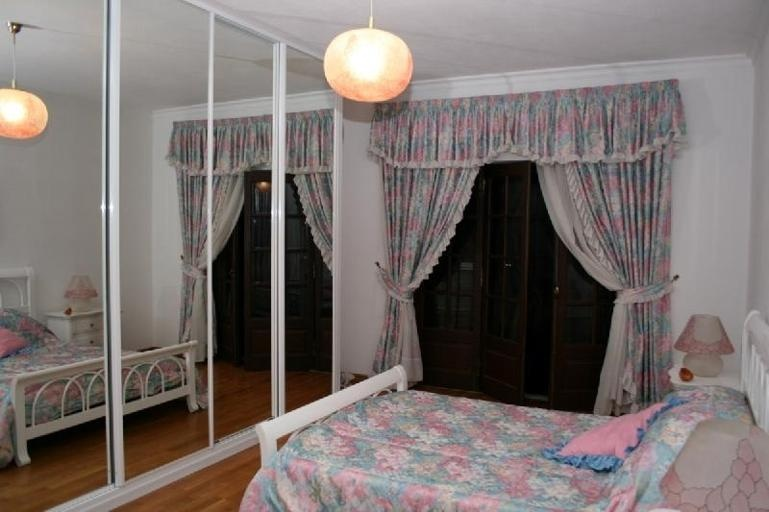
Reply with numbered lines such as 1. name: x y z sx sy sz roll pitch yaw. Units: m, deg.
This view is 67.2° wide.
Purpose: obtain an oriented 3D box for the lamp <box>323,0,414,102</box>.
1. lamp: -0.162 -1.371 4.113 0.597 0.785 0.584 1 5 -14

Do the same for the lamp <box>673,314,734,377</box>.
1. lamp: 2.662 0.752 5.036 0.520 0.540 0.522 -2 0 15

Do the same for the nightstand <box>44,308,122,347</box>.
1. nightstand: -2.110 0.497 4.103 0.230 0.445 0.453 3 4 25

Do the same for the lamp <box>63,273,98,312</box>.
1. lamp: -2.130 0.263 4.078 0.224 0.241 0.233 3 -3 -43
